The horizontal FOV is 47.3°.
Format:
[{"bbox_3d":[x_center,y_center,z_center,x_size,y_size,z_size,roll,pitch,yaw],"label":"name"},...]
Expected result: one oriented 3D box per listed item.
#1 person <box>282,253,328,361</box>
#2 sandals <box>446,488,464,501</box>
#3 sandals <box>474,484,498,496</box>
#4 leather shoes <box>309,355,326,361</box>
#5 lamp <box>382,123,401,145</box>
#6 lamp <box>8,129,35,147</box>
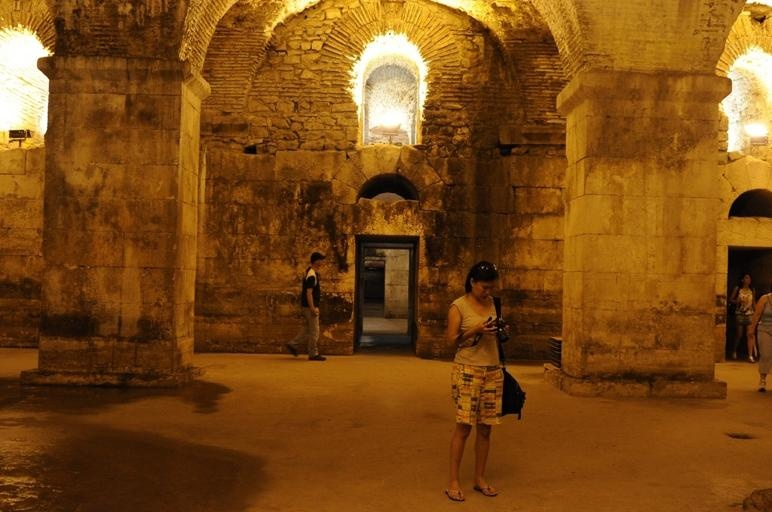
[{"bbox_3d":[-1.412,0.886,15.797,0.647,1.963,1.010,0,15,-5],"label":"person"},{"bbox_3d":[0.811,2.761,10.222,0.109,0.065,0.197,-2,0,-37],"label":"sandals"},{"bbox_3d":[1.166,2.733,10.341,0.117,0.053,0.220,-2,1,-39],"label":"sandals"},{"bbox_3d":[-1.220,1.802,15.679,0.304,0.110,0.102,1,-1,-5],"label":"leather shoes"},{"bbox_3d":[0.237,-3.719,26.510,0.526,0.469,0.666,1,14,-2],"label":"lamp"},{"bbox_3d":[-7.265,-2.386,17.625,0.537,0.313,0.600,-9,18,-36],"label":"lamp"}]
